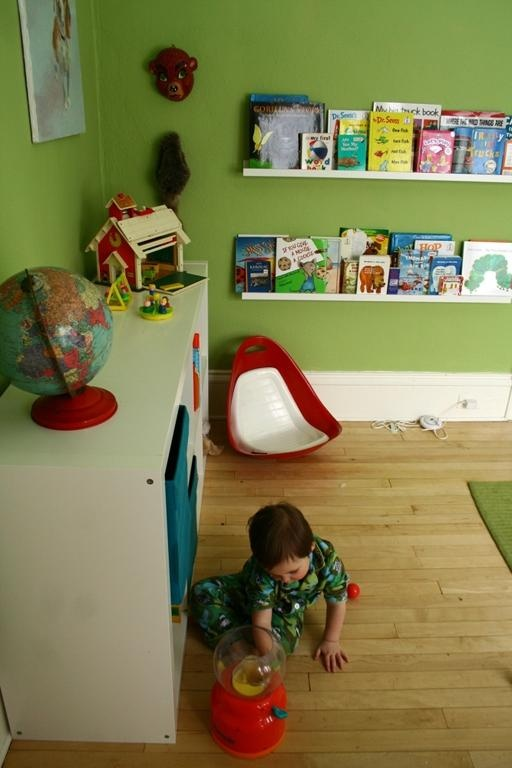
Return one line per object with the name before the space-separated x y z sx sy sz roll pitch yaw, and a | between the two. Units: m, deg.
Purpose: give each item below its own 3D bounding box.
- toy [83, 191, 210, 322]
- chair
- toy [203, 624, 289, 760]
toy | -0.366 -0.389 1.863 0.445 0.311 0.354 10 27 17
chair | 0.104 0.055 2.248 0.418 0.316 0.484 0 27 -2
toy | -0.008 0.616 1.194 0.178 0.229 0.172 -4 27 -10
